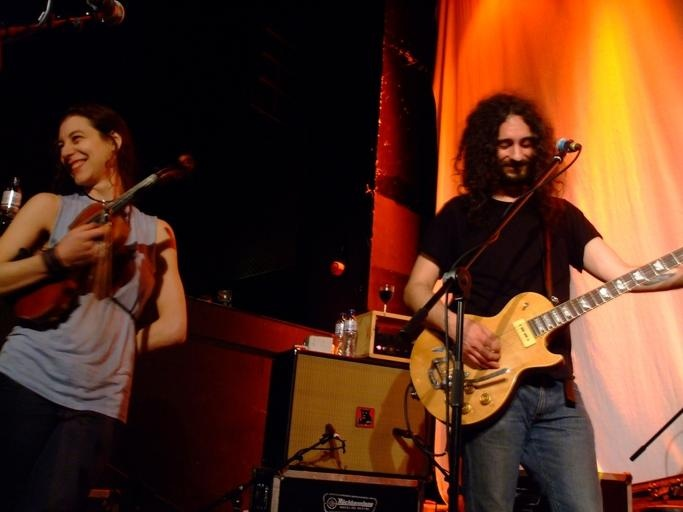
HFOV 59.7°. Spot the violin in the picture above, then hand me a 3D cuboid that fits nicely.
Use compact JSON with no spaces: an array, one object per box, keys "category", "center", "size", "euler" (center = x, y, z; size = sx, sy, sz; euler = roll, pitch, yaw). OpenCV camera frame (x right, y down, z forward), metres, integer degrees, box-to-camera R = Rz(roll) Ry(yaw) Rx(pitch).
[{"category":"violin","center":[-1.030,-0.070,2.686],"size":[0.168,1.040,0.420],"euler":[-11,-50,44]}]

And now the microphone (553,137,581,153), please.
[{"category":"microphone","center":[1.018,-0.510,2.706],"size":[0.052,0.068,0.118],"euler":[-13,16,-27]}]
